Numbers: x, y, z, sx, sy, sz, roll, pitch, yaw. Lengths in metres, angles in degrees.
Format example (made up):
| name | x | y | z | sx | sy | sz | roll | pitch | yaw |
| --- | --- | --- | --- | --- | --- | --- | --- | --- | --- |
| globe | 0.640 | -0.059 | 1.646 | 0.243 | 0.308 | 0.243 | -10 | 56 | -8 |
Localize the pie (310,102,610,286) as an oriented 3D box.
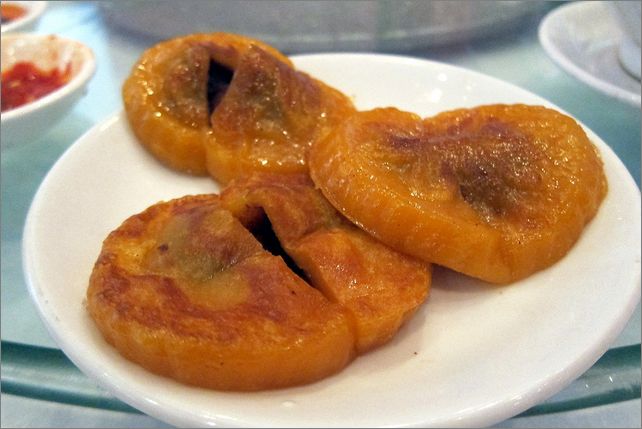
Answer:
| name | x | y | z | sx | sy | sz | roll | pitch | yaw |
| --- | --- | --- | --- | --- | --- | --- | --- | --- | --- |
| pie | 0.287 | -0.023 | 1.375 | 0.455 | 0.135 | 0.388 | -2 | 47 | 3 |
